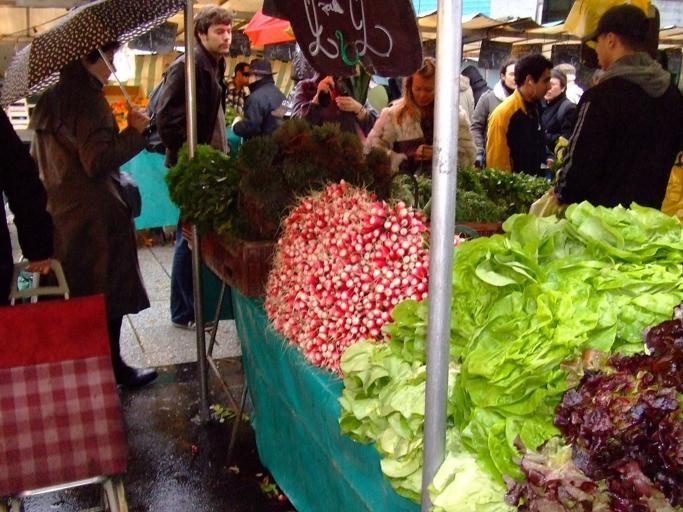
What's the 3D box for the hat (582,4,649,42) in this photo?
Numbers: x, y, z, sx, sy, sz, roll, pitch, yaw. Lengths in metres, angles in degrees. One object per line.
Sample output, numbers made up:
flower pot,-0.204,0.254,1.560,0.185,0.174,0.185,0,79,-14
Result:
hat,1.414,-1.205,2.878,0.184,0.145,0.256,-26,36,-32
